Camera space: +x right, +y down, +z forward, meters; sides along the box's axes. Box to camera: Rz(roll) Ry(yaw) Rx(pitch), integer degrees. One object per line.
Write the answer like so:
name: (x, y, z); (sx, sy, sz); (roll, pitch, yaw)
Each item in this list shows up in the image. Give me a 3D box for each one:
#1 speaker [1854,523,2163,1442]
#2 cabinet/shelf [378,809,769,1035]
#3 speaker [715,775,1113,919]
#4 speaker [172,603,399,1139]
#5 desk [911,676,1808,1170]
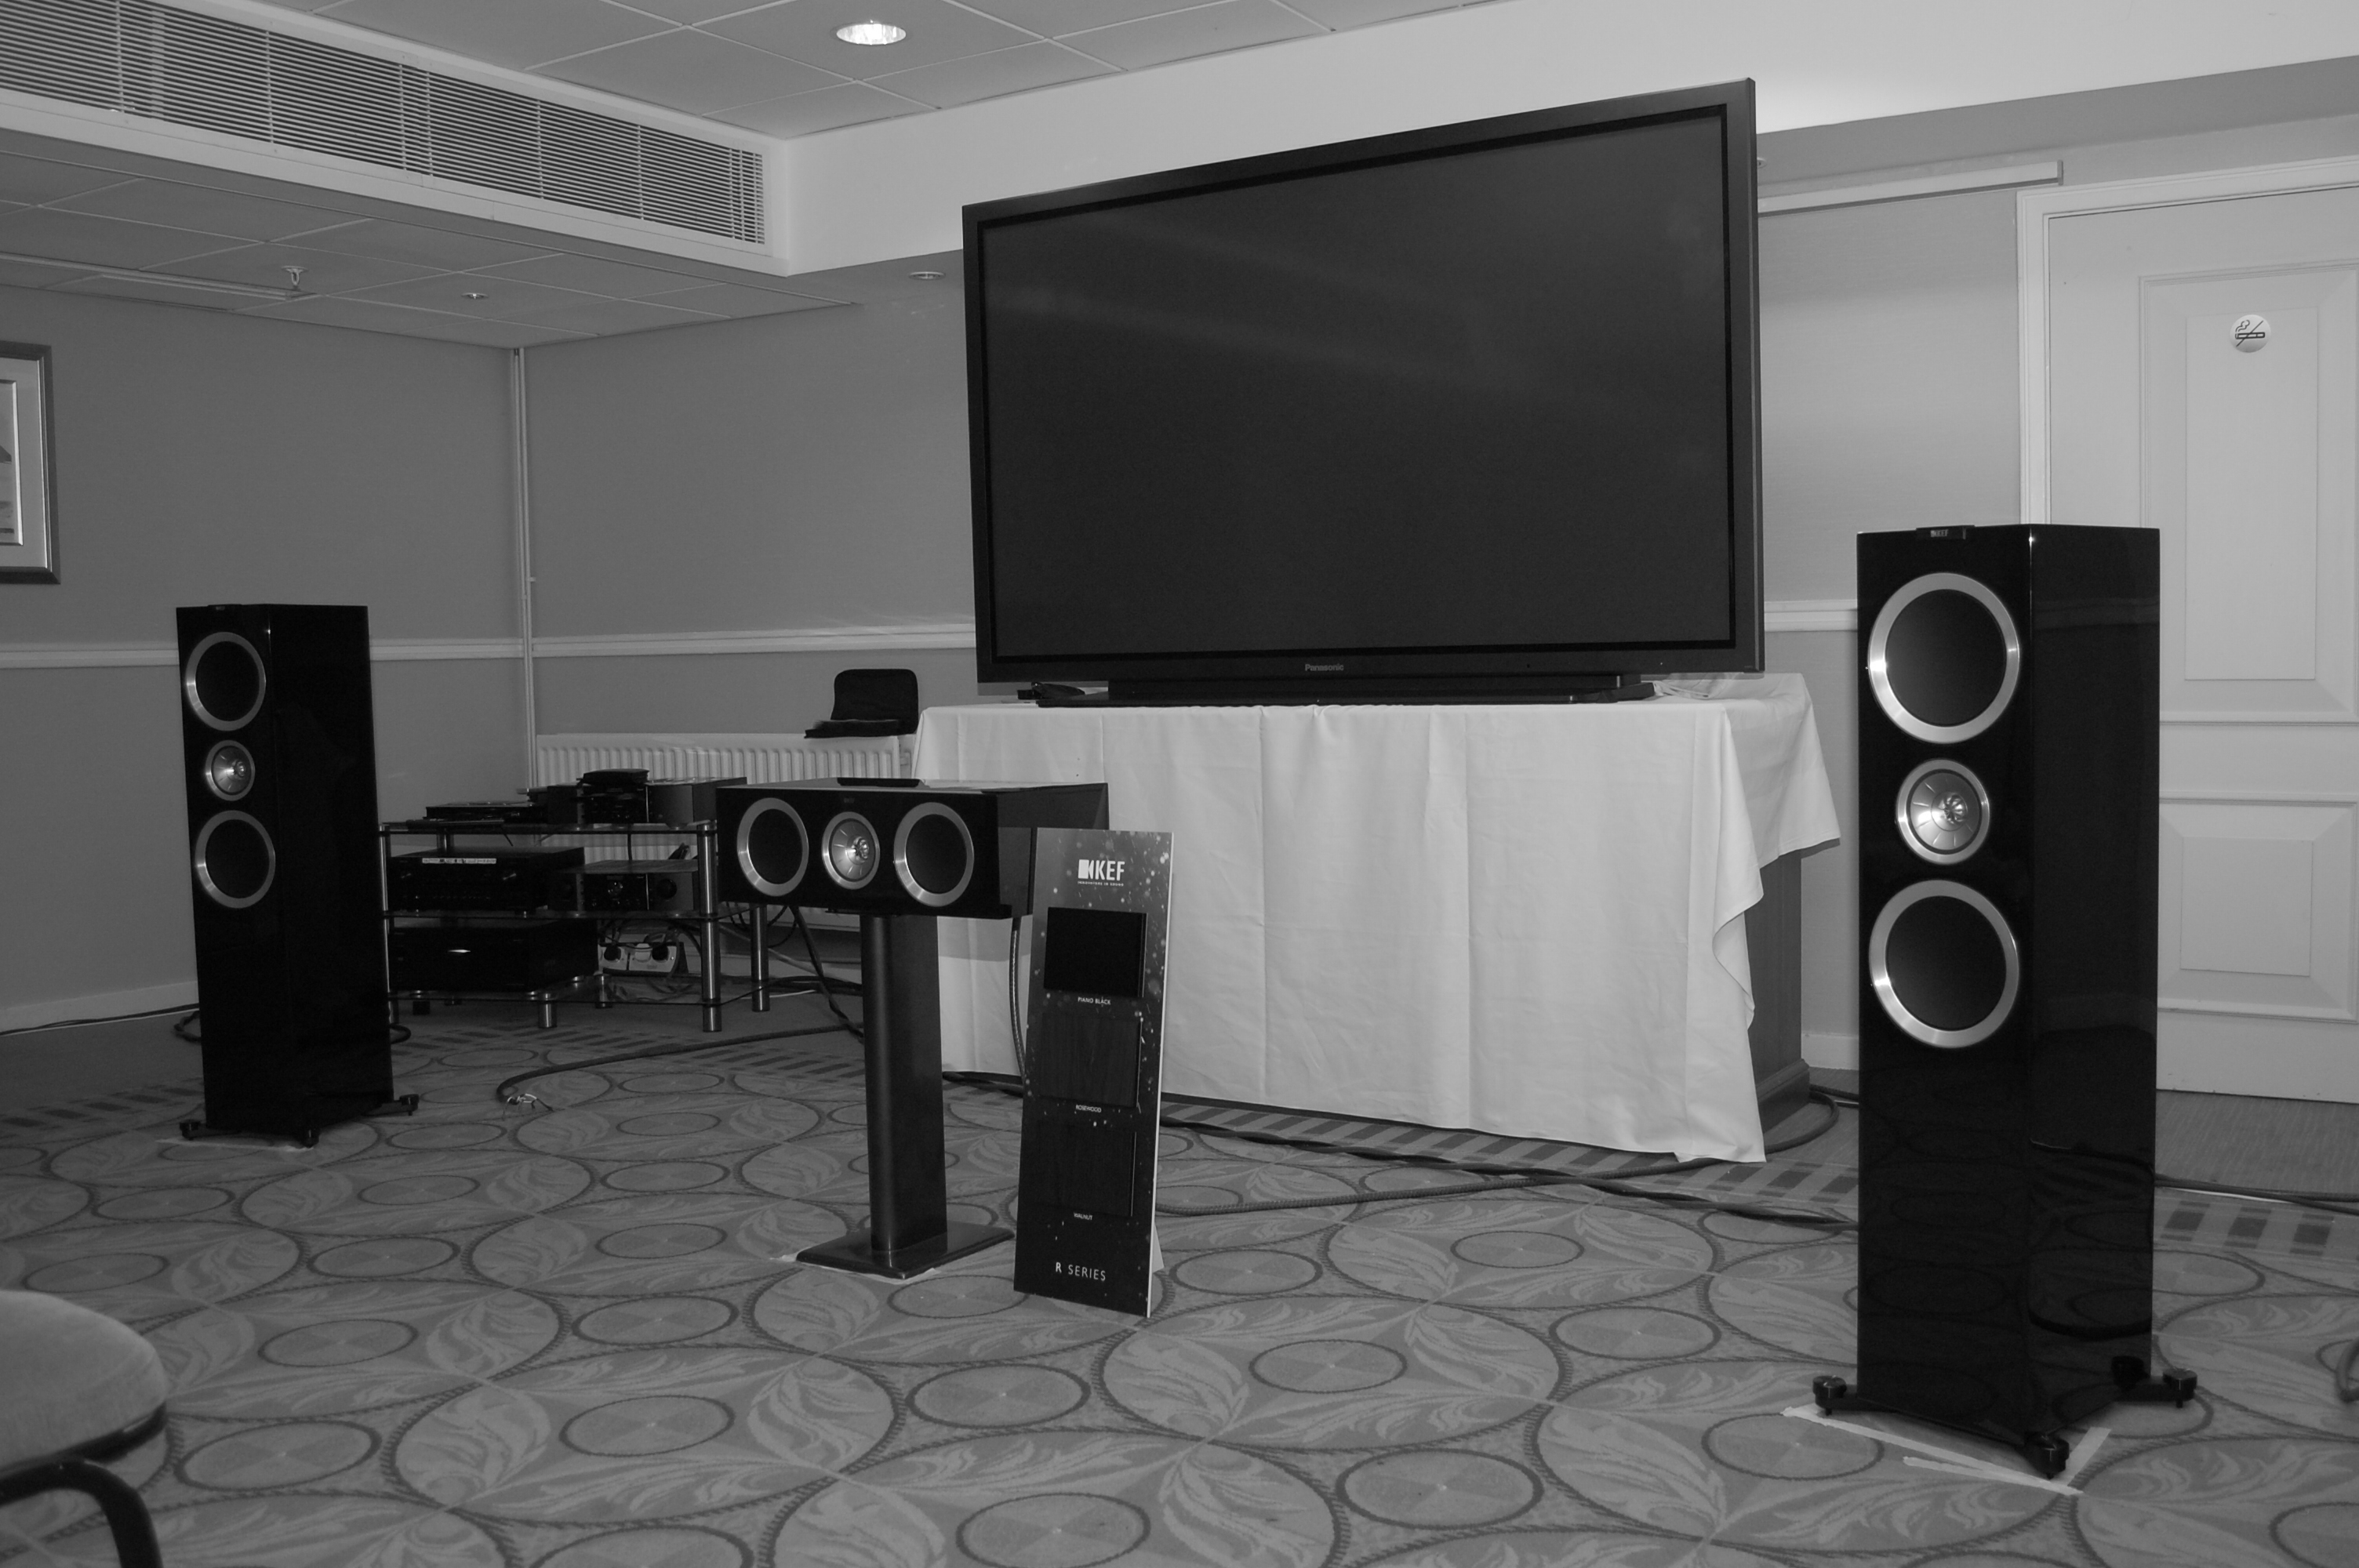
speaker: (1.544, 0.369, 3.398); (0.680, 1.675, 0.468); (0, 11, 8)
cabinet/shelf: (-2.197, 0.487, 6.663); (1.234, 0.650, 0.496); (-1, -1, 2)
speaker: (-0.636, 0.133, 4.151); (0.858, 0.315, 0.323); (1, 11, 15)
speaker: (-2.502, 0.238, 5.163); (0.524, 1.480, 0.427); (-6, 11, -19)
desk: (0.591, 0.307, 4.988); (1.962, 1.122, 0.391); (3, 12, 23)
